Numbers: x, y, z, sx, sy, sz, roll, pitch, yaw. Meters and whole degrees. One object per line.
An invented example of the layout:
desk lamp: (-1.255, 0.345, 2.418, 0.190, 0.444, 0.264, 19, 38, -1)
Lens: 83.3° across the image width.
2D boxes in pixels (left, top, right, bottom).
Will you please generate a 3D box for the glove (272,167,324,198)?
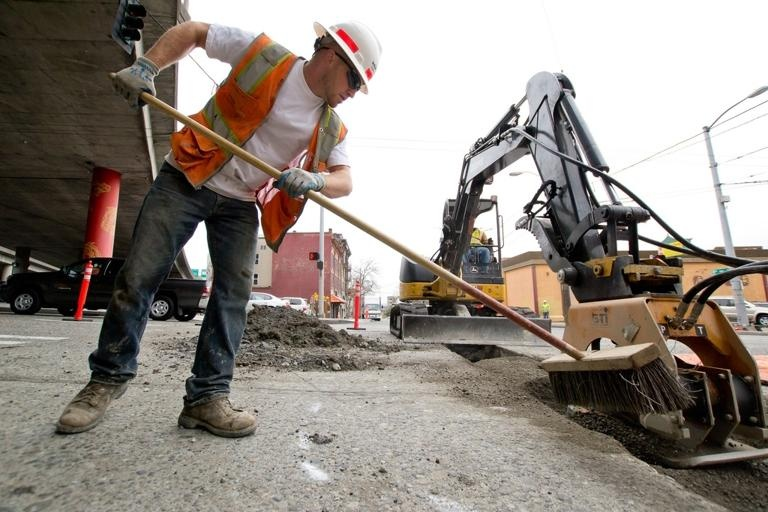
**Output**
glove: (-0.594, -0.496, 2.965, 0.270, 0.206, 0.129, -1, -24, 5)
